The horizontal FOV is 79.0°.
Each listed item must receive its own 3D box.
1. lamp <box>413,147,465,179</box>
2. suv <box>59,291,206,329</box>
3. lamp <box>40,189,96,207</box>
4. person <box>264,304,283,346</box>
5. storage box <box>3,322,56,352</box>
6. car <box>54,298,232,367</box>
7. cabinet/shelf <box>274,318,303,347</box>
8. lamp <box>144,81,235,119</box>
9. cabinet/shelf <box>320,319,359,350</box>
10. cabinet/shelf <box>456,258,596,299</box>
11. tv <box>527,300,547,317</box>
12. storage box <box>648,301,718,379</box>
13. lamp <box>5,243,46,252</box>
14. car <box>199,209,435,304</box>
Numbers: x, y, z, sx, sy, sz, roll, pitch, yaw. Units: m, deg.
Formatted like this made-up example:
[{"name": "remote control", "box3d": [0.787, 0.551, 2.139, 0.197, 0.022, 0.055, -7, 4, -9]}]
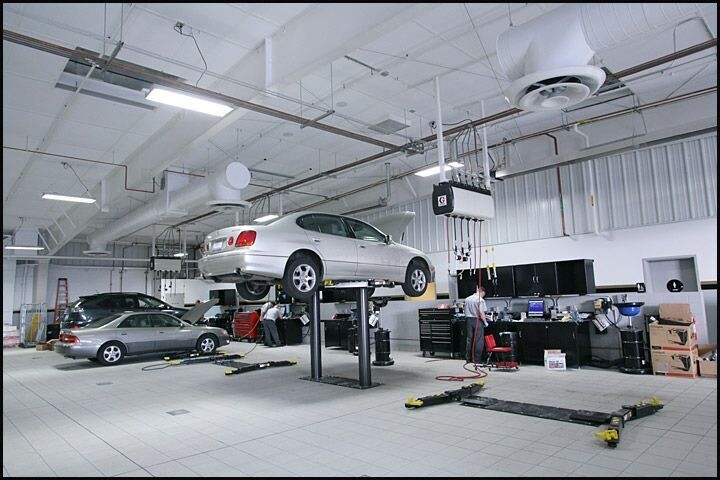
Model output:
[{"name": "lamp", "box3d": [2.219, -2.160, 12.127, 0.629, 0.132, 1.747, 23, -26, -31]}, {"name": "suv", "box3d": [-7.965, 2.182, 14.991, 3.862, 1.252, 1.710, 0, -6, -31]}, {"name": "lamp", "box3d": [-9.756, -1.431, 14.632, 1.416, 0.439, 4.978, -2, 0, -35]}, {"name": "person", "box3d": [-3.105, 3.074, 15.630, 0.597, 1.029, 0.650, -3, 1, -26]}, {"name": "storage box", "box3d": [-14.240, 4.021, 18.529, 1.675, 1.102, 1.340, -2, 1, -4]}, {"name": "car", "box3d": [-6.113, 2.614, 12.705, 4.444, 1.607, 1.836, 2, -7, -35]}, {"name": "cabinet/shelf", "box3d": [-2.632, 3.353, 16.369, 0.920, 1.119, 1.216, -7, -9, 29]}, {"name": "lamp", "box3d": [-3.195, -2.609, 8.306, 1.283, 0.152, 0.651, 8, -12, -37]}, {"name": "cabinet/shelf", "box3d": [-0.408, 3.188, 14.641, 1.434, 0.813, 0.745, -7, -8, 37]}, {"name": "cabinet/shelf", "box3d": [4.607, 1.015, 11.313, 2.504, 1.035, 0.501, -1, 1, 35]}, {"name": "tv", "box3d": [4.429, 1.722, 10.883, 0.370, 0.340, 0.188, -5, -15, 41]}, {"name": "storage box", "box3d": [6.537, 2.041, 8.906, 1.065, 1.407, 0.579, -1, 1, 31]}, {"name": "lamp", "box3d": [-14.670, 0.401, 19.155, 1.061, 0.301, 3.579, -2, 0, -41]}, {"name": "car", "box3d": [-0.733, 0.279, 8.790, 4.258, 1.278, 1.873, 0, -6, -32]}]
